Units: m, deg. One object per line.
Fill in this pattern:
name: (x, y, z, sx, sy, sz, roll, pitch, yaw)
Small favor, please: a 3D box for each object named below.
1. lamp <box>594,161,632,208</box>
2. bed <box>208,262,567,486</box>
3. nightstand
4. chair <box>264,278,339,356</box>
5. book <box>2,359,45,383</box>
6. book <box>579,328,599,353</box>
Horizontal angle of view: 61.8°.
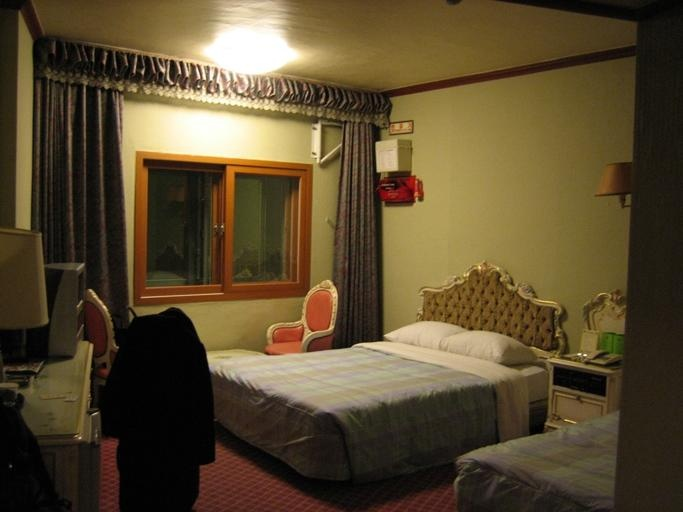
lamp: (2.289, -0.586, 4.810, 0.255, 0.388, 0.518, 1, 9, 25)
bed: (0.506, 1.123, 5.025, 2.145, 1.284, 2.103, -1, 3, -27)
nightstand: (2.076, 0.940, 4.913, 0.653, 1.292, 0.436, 7, 11, 33)
chair: (-0.374, 0.691, 6.597, 0.782, 1.167, 0.797, 4, 0, -34)
book: (-1.838, 0.675, 3.295, 0.128, 0.028, 0.206, 0, 4, -14)
book: (2.168, 0.752, 4.997, 0.045, 0.188, 0.133, 22, -15, -36)
